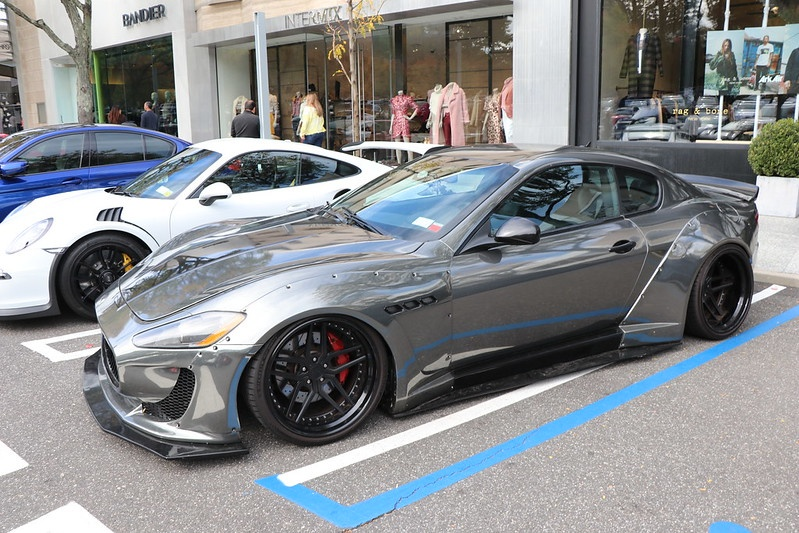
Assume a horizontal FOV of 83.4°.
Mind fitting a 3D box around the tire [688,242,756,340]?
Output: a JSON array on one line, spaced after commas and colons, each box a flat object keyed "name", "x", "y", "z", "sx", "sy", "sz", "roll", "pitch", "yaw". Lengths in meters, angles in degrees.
[{"name": "tire", "x": 2.935, "y": 0.221, "z": 4.373, "sx": 1.083, "sy": 0.925, "sz": 0.389, "roll": -4, "pitch": 9, "yaw": -30}]

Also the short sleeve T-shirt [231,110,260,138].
[{"name": "short sleeve T-shirt", "x": -4.572, "y": -4.189, "z": 13.227, "sx": 0.736, "sy": 0.741, "sz": 0.573, "roll": -7, "pitch": 15, "yaw": -18}]

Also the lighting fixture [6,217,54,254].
[{"name": "lighting fixture", "x": -4.001, "y": -0.331, "z": 4.852, "sx": 0.403, "sy": 0.064, "sz": 0.305, "roll": -19, "pitch": 49, "yaw": -12}]

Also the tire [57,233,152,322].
[{"name": "tire", "x": -3.504, "y": 0.115, "z": 5.226, "sx": 0.377, "sy": 0.937, "sz": 1.039, "roll": 10, "pitch": 9, "yaw": 25}]

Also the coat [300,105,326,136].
[{"name": "coat", "x": -2.778, "y": -4.499, "z": 13.882, "sx": 0.744, "sy": 0.927, "sz": 0.446, "roll": -6, "pitch": 15, "yaw": -14}]

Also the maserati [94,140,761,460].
[{"name": "maserati", "x": 0.422, "y": 0.212, "z": 3.674, "sx": 4.606, "sy": 1.137, "sz": 2.448, "roll": -5, "pitch": 13, "yaw": -18}]
